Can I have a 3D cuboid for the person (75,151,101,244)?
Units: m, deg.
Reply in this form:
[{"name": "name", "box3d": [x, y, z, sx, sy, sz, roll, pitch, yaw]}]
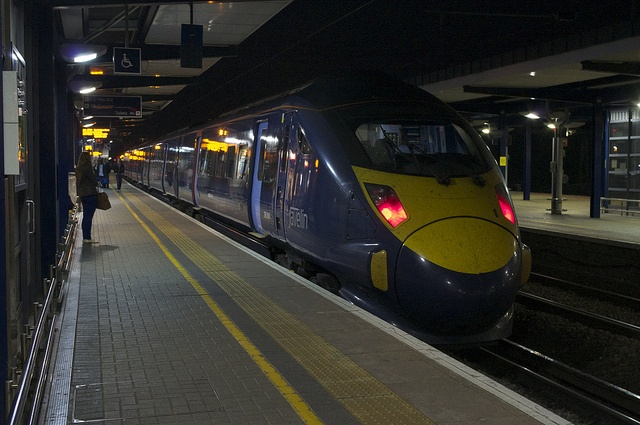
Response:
[{"name": "person", "box3d": [-5.276, -0.365, 9.770, 0.412, 2.020, 0.728, -3, 7, -30]}]
